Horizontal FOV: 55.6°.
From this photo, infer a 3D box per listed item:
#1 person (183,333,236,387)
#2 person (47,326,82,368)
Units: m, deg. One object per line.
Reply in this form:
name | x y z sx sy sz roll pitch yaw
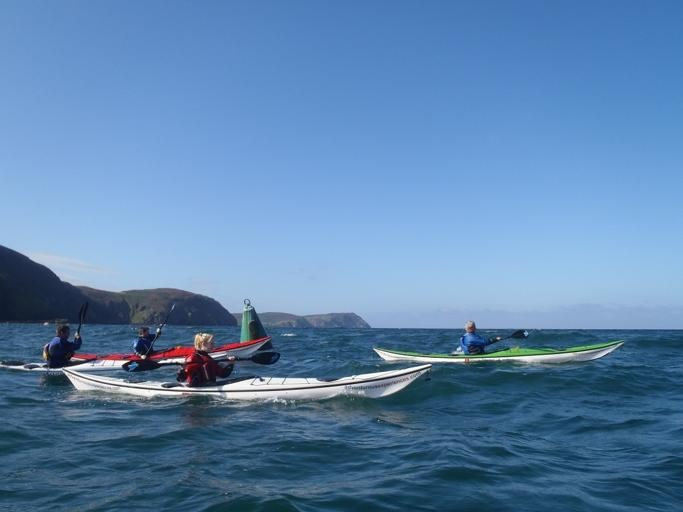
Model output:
person | -3.331 2.595 16.341 1.325 1.427 1.203 0 3 -23
person | -8.739 2.757 20.251 1.043 1.312 1.287 0 2 -21
